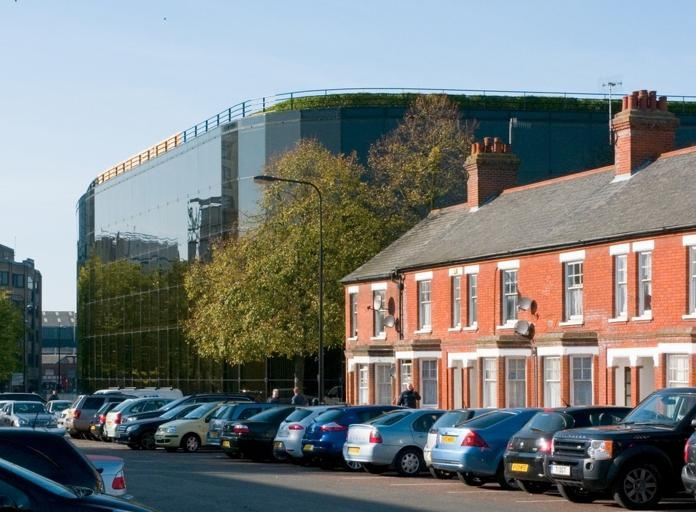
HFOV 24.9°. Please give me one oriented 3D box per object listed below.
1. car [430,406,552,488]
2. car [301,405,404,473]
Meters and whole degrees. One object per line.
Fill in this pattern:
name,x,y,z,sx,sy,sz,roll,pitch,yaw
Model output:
car,3.697,5.745,46.335,3.246,2.418,2.607,-4,-4,-14
car,-0.428,5.919,50.542,2.967,2.203,2.398,2,-7,-26
